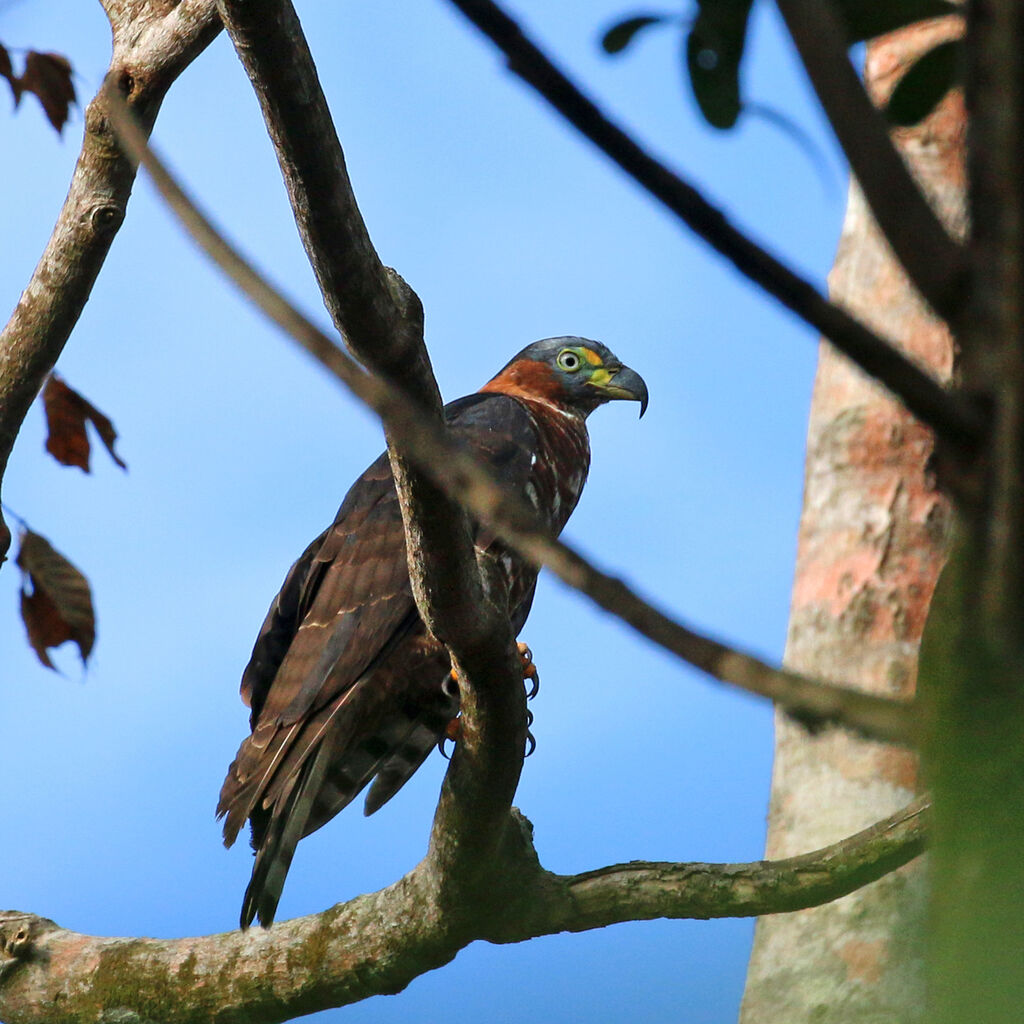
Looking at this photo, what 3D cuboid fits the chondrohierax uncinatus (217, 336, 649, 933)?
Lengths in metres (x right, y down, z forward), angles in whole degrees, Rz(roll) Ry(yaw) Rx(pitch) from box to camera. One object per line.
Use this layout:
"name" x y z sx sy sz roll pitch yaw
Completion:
"chondrohierax uncinatus" -0.245 0.260 6.477 0.716 1.034 1.614 -8 -72 -23
